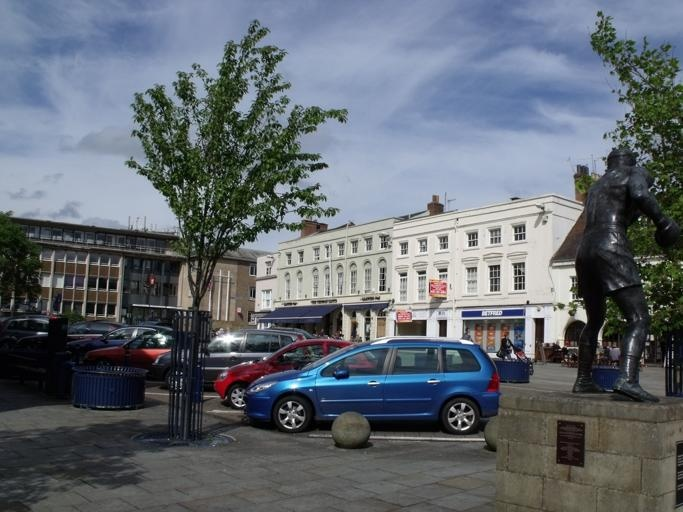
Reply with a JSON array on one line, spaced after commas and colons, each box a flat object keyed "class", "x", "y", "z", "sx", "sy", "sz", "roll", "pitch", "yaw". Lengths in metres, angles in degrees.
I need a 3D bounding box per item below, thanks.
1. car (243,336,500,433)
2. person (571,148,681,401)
[{"class": "car", "x": 0.624, "y": 2.599, "z": 12.425, "sx": 4.680, "sy": 1.573, "sz": 2.099, "roll": 3, "pitch": -10, "yaw": -2}, {"class": "person", "x": 2.844, "y": 0.240, "z": 6.243, "sx": 0.992, "sy": 2.353, "sz": 0.571, "roll": -2, "pitch": -9, "yaw": 29}]
